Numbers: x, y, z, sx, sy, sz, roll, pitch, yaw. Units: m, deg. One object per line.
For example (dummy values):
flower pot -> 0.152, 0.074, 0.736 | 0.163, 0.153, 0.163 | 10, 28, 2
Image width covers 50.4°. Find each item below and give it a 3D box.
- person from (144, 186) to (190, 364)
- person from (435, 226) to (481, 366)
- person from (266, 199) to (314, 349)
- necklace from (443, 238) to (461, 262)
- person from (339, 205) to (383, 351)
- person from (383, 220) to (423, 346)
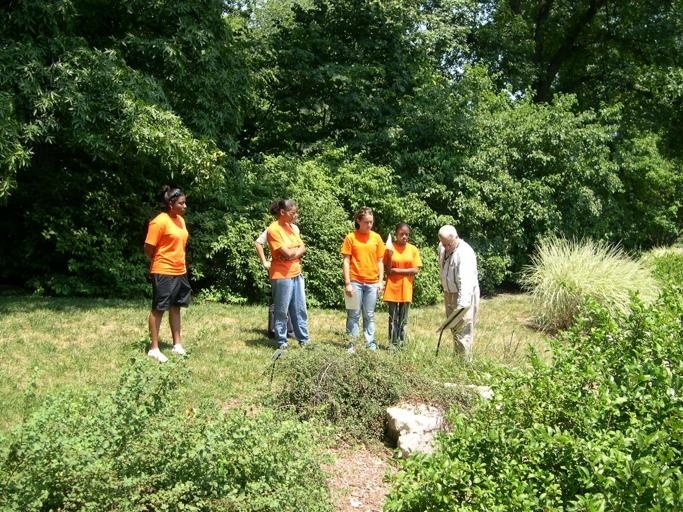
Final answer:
person -> -2.551, 0.255, 10.642 | 0.638, 2.494, 0.751 | 2, 2, -13
person -> 1.719, 0.538, 10.771 | 0.610, 1.943, 0.860 | 3, 2, 8
person -> -0.812, 0.282, 11.036 | 0.643, 2.247, 0.389 | 1, 3, -32
necklace -> 1.604, -0.094, 10.807 | 0.286, 0.163, 0.216 | -33, 14, -36
person -> 0.352, 0.325, 11.300 | 0.721, 2.119, 0.457 | 1, 3, -24
person -> 0.951, 0.476, 11.719 | 0.578, 1.982, 0.423 | 2, 2, 0
